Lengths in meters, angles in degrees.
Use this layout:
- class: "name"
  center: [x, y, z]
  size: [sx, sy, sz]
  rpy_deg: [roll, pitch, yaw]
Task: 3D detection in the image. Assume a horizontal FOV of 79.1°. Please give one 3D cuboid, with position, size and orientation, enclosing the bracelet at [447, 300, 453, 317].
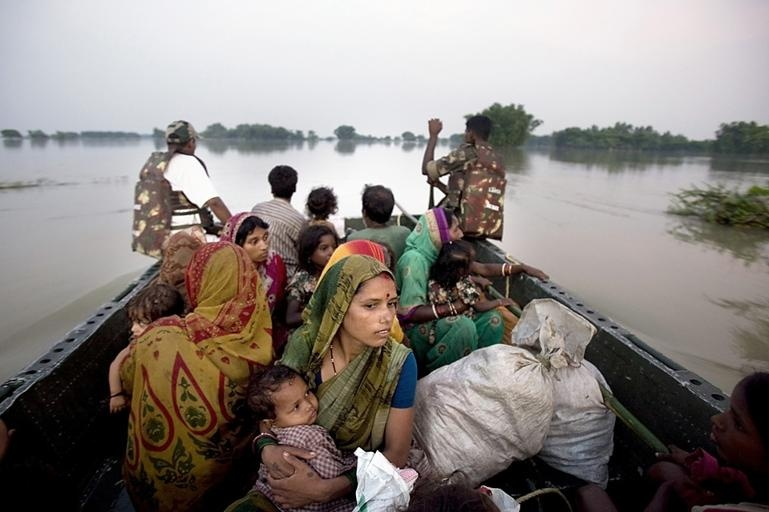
- class: "bracelet"
  center: [0.634, 0.503, 4.428]
  size: [0.059, 0.111, 0.046]
  rpy_deg: [0, 16, -5]

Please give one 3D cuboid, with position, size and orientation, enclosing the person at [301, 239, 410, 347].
- class: "person"
  center: [-0.191, 0.212, 4.345]
  size: [0.742, 0.784, 1.203]
  rpy_deg: [3, 8, 21]

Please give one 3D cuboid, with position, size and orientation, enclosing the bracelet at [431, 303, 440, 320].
- class: "bracelet"
  center: [0.475, 0.522, 4.417]
  size: [0.023, 0.099, 0.101]
  rpy_deg: [-15, -12, -9]

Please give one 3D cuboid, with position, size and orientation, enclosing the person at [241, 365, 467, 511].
- class: "person"
  center: [-0.465, 1.310, 3.391]
  size: [1.053, 0.914, 0.478]
  rpy_deg: [1, 16, -3]

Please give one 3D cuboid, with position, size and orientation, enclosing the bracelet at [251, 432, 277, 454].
- class: "bracelet"
  center: [-0.878, 1.335, 3.408]
  size: [0.114, 0.078, 0.205]
  rpy_deg: [-23, 0, -40]

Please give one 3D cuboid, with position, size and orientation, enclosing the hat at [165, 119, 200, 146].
- class: "hat"
  center: [-2.574, -1.544, 5.857]
  size: [0.343, 0.277, 0.228]
  rpy_deg: [-2, 17, -13]
